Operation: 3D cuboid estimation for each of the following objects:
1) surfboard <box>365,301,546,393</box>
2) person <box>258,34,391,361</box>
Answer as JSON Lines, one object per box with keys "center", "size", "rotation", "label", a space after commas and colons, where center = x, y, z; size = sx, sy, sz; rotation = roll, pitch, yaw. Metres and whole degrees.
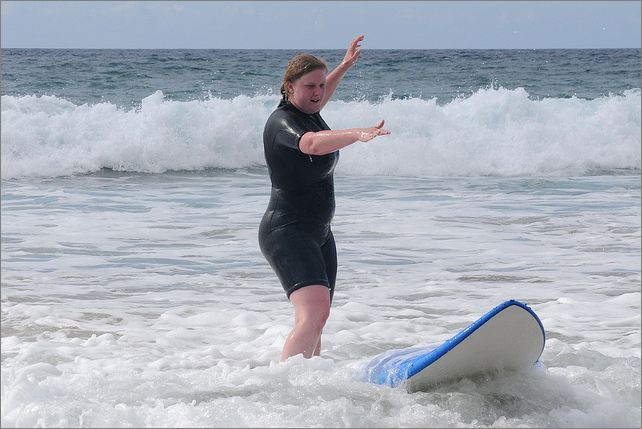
{"center": [1.077, 1.162, 7.433], "size": [1.725, 0.230, 0.816], "rotation": [-17, -22, 21], "label": "surfboard"}
{"center": [-0.151, -0.106, 8.045], "size": [1.031, 3.337, 1.377], "rotation": [0, 9, 2], "label": "person"}
